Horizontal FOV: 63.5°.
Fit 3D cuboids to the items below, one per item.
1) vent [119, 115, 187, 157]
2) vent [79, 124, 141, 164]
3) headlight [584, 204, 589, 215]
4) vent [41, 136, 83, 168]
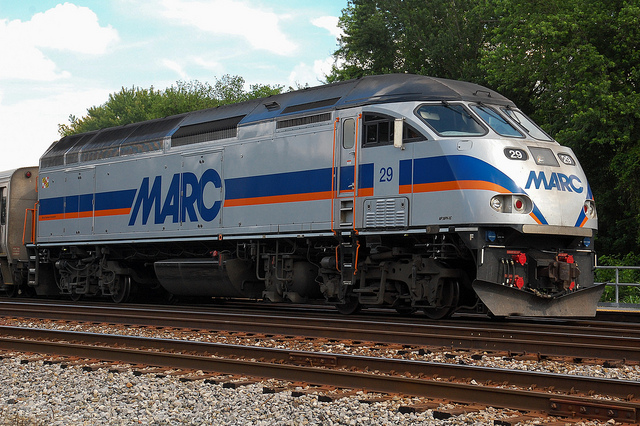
[{"bbox_3d":[-5.438,-2.393,16.594,2.496,0.930,0.779,-16,3,-22],"label":"vent"},{"bbox_3d":[-7.254,-2.428,17.987,2.298,0.847,0.655,-16,24,-32],"label":"vent"},{"bbox_3d":[5.981,-0.108,11.774,0.061,0.162,0.150,-1,0,44],"label":"headlight"},{"bbox_3d":[-9.494,-2.376,19.956,2.080,1.078,1.992,-8,11,-20],"label":"vent"}]
